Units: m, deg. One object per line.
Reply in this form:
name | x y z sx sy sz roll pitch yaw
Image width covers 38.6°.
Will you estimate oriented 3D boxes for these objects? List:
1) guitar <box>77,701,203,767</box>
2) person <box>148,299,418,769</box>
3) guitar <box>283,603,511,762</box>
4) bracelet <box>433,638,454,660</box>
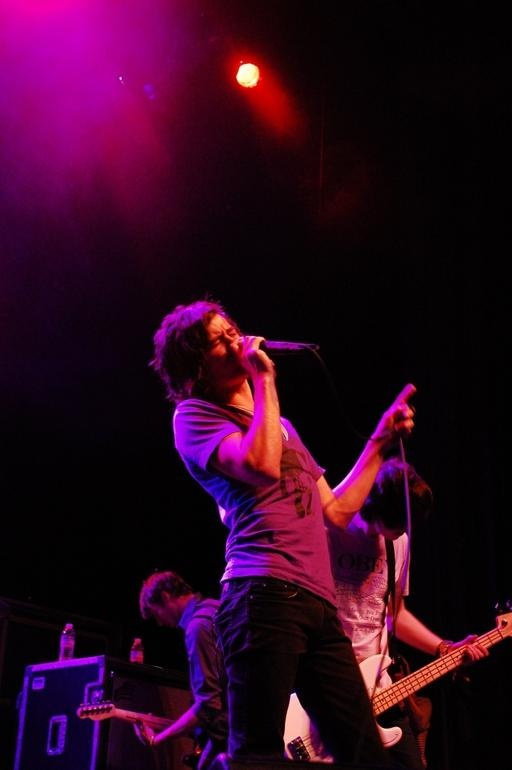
guitar | -0.469 1.503 3.219 0.591 0.306 0.085 12 -4 -7
person | 0.056 0.280 1.821 0.525 1.238 0.718 -1 -14 -6
guitar | 0.486 0.994 2.412 0.103 0.323 0.931 -13 10 46
bracelet | 0.739 1.034 2.874 0.072 0.075 0.055 -6 -19 34
